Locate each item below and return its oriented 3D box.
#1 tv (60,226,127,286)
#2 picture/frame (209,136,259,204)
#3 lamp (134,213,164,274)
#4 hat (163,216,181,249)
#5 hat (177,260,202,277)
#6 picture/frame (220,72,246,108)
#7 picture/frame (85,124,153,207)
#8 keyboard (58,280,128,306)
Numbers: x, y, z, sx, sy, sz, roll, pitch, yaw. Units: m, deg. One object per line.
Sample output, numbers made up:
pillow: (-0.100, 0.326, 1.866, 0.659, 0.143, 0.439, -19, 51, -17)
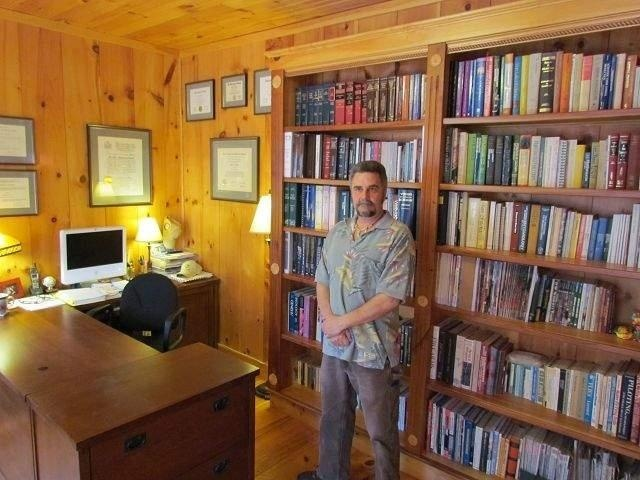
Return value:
tv: (-1.848, 0.112, 4.033, 0.163, 0.454, 0.463, 5, 8, 43)
picture/frame: (-0.707, -0.613, 4.197, 0.559, 0.522, 0.041, 8, 10, 37)
lamp: (-1.532, 0.020, 4.475, 0.233, 0.517, 0.331, -2, 13, -18)
hat: (-1.373, -0.066, 4.576, 0.202, 0.289, 0.143, 4, 13, 10)
hat: (-1.142, 0.245, 4.449, 0.124, 0.085, 0.167, 1, 8, 10)
picture/frame: (-0.710, -1.263, 4.146, 0.309, 0.266, 0.031, 9, 10, 38)
picture/frame: (-1.748, -0.661, 4.280, 0.680, 0.845, 0.057, -10, 15, -43)
keyboard: (-1.788, 0.406, 3.915, 0.225, 0.045, 0.322, 10, 14, 37)
